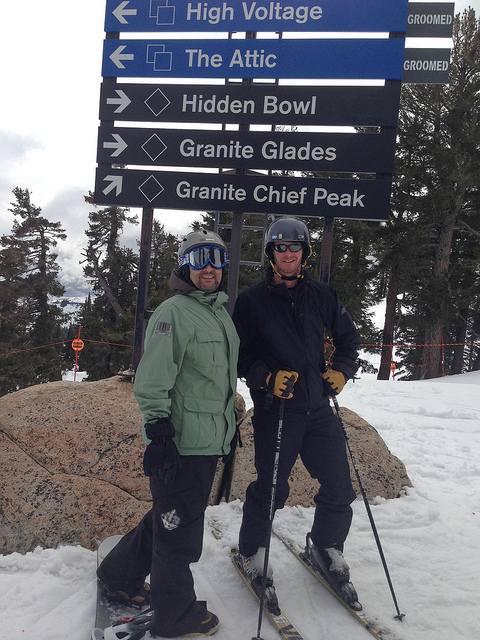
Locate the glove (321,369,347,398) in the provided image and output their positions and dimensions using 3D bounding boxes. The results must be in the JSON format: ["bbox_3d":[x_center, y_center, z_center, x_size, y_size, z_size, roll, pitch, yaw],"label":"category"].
[{"bbox_3d":[0.646,0.434,4.157,0.180,0.148,0.195,-28,-1,-7],"label":"glove"}]

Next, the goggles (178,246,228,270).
[{"bbox_3d":[-0.235,-0.404,3.759,0.310,0.155,0.122,6,9,-3],"label":"goggles"}]

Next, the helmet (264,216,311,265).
[{"bbox_3d":[0.335,-0.565,4.169,0.294,0.356,0.358,3,11,4],"label":"helmet"}]

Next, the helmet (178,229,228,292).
[{"bbox_3d":[-0.294,-0.411,3.928,0.339,0.472,0.390,-1,4,-20],"label":"helmet"}]

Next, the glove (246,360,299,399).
[{"bbox_3d":[0.214,0.399,3.931,0.283,0.207,0.138,5,-2,19],"label":"glove"}]

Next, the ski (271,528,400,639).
[{"bbox_3d":[0.607,1.782,4.272,0.199,0.090,1.771,7,4,-19],"label":"ski"}]

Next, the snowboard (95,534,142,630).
[{"bbox_3d":[-0.833,1.815,4.048,0.311,0.195,1.369,-7,3,-11],"label":"snowboard"}]

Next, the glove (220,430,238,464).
[{"bbox_3d":[-0.066,0.833,3.877,0.154,0.213,0.110,3,8,-21],"label":"glove"}]

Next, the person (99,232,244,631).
[{"bbox_3d":[-0.383,0.662,3.616,0.753,2.399,0.817,6,9,-2],"label":"person"}]
